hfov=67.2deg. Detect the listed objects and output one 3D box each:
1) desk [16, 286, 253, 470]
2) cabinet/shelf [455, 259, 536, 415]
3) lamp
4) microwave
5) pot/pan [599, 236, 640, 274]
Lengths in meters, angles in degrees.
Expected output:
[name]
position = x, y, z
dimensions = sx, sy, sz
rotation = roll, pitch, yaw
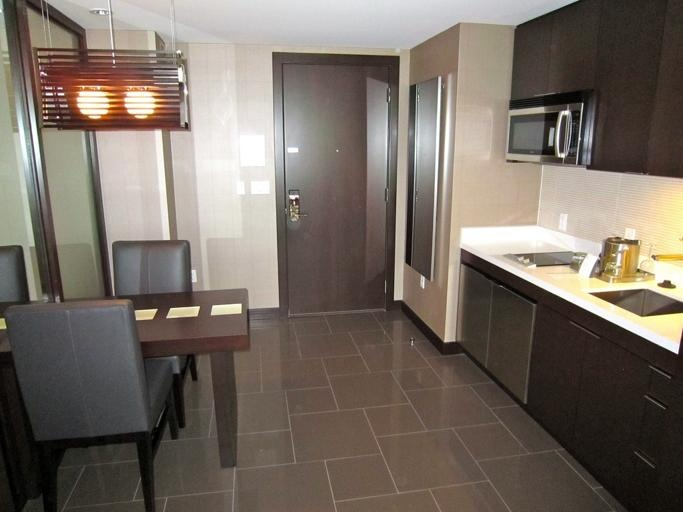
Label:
[desk]
position = -1.038, 0.632, 3.311
dimensions = 1.243, 0.990, 1.019
rotation = 0, 8, 2
[cabinet/shelf]
position = 1.192, 0.629, 3.920
dimensions = 0.486, 0.945, 0.925
rotation = 0, 13, -10
[lamp]
position = -1.370, -1.064, 3.250
dimensions = 0.775, 0.507, 0.561
rotation = 0, 5, -7
[microwave]
position = 1.506, -0.938, 3.778
dimensions = 0.178, 0.496, 0.806
rotation = -5, 13, -10
[pot/pan]
position = 1.835, -0.012, 3.400
dimensions = 0.242, 0.292, 0.201
rotation = -1, 8, 1
